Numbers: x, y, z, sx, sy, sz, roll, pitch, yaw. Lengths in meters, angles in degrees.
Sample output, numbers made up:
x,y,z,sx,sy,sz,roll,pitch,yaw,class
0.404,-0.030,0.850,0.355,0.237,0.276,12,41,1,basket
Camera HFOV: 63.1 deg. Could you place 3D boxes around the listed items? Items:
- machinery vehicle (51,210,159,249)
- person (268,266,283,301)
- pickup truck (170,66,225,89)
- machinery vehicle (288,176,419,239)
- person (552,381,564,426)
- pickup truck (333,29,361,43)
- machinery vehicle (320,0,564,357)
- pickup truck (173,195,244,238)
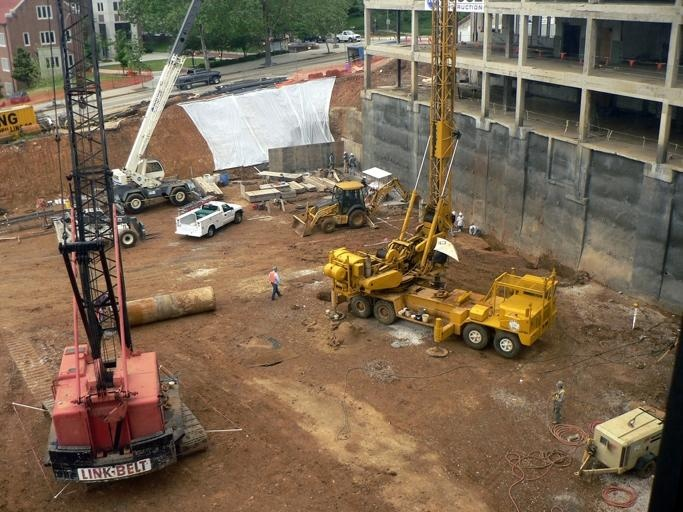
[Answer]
x,y,z,sx,sy,sz,roll,pitch,yaw,class
-13.637,-1.318,31.127,5.121,1.876,3.518,-6,4,-33,machinery vehicle
-2.952,1.111,24.641,0.472,1.452,1.172,-8,21,-7,person
-14.469,-17.805,55.724,4.325,1.637,2.104,-17,30,-27,pickup truck
0.904,-3.046,33.253,6.821,2.650,2.524,-8,17,-12,machinery vehicle
6.675,4.175,17.052,0.290,1.428,1.298,3,23,22,person
0.930,-29.261,74.372,3.255,1.459,1.828,6,25,21,pickup truck
4.501,-3.569,21.872,8.335,12.340,8.238,7,24,30,machinery vehicle
-7.707,-2.068,32.911,1.975,1.389,3.845,11,25,30,pickup truck
